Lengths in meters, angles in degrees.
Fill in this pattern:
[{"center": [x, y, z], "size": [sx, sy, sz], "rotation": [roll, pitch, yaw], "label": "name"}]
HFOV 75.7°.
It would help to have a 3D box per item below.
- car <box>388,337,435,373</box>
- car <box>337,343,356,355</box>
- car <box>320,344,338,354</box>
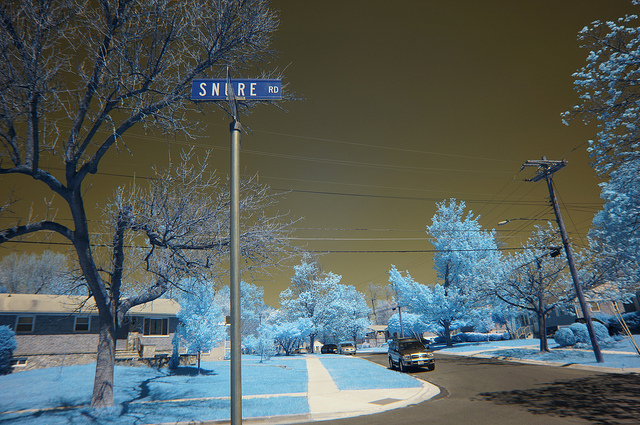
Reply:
[{"center": [6.080, 9.605, 27.701], "size": [2.098, 2.208, 2.818], "rotation": [-1, -20, -10], "label": "car"}, {"center": [3.261, 16.823, 50.557], "size": [1.944, 1.407, 1.070], "rotation": [-12, -21, 18], "label": "car"}, {"center": [1.292, 18.527, 55.674], "size": [1.346, 1.083, 2.351], "rotation": [9, -20, -39], "label": "car"}]
